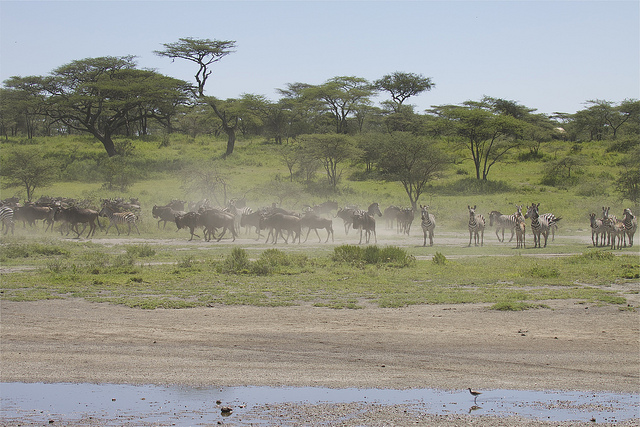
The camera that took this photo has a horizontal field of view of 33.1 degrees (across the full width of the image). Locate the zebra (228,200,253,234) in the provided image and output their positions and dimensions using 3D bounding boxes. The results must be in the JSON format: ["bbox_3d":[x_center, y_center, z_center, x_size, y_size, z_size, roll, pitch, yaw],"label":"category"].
[{"bbox_3d":[-6.341,0.352,84.971,1.880,2.368,4.809,0,7,-5],"label":"zebra"}]

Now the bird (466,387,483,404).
[{"bbox_3d":[8.001,9.525,56.349,0.705,0.677,0.554,7,10,39],"label":"bird"}]

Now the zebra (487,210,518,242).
[{"bbox_3d":[14.095,0.927,82.537,3.727,2.200,0.966,-2,4,-39],"label":"zebra"}]
